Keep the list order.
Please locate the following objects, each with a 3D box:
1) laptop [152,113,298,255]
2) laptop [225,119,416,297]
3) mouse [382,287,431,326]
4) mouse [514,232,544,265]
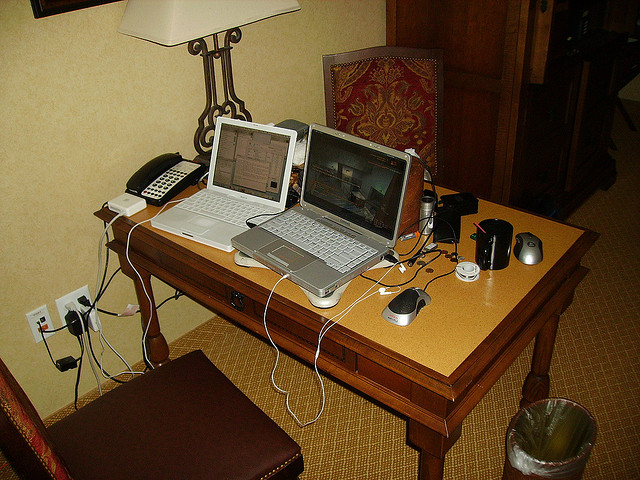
[{"bbox_3d":[-0.377,-0.250,1.949,0.454,0.347,0.511,18,29,32],"label":"laptop"},{"bbox_3d":[-0.001,-0.134,1.715,0.503,0.375,0.493,20,33,30],"label":"laptop"},{"bbox_3d":[0.283,0.188,1.572,0.087,0.044,0.144,21,46,30],"label":"mouse"},{"bbox_3d":[0.770,0.037,1.780,0.099,0.056,0.157,1,19,32],"label":"mouse"}]
